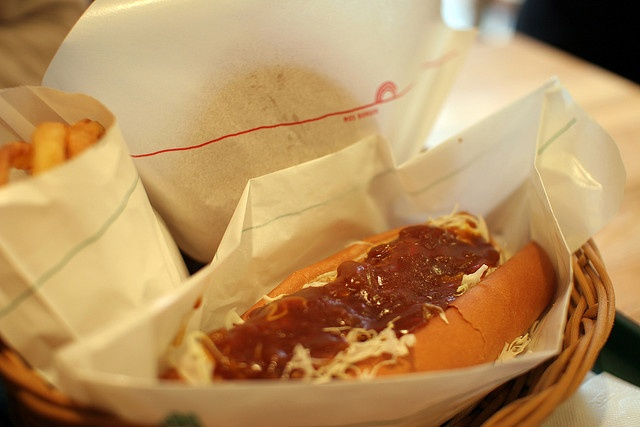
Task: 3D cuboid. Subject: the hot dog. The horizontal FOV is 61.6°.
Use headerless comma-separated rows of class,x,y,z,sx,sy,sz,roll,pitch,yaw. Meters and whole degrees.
hot dog,0.101,0.112,0.893,0.560,0.174,0.270,-16,15,-31
